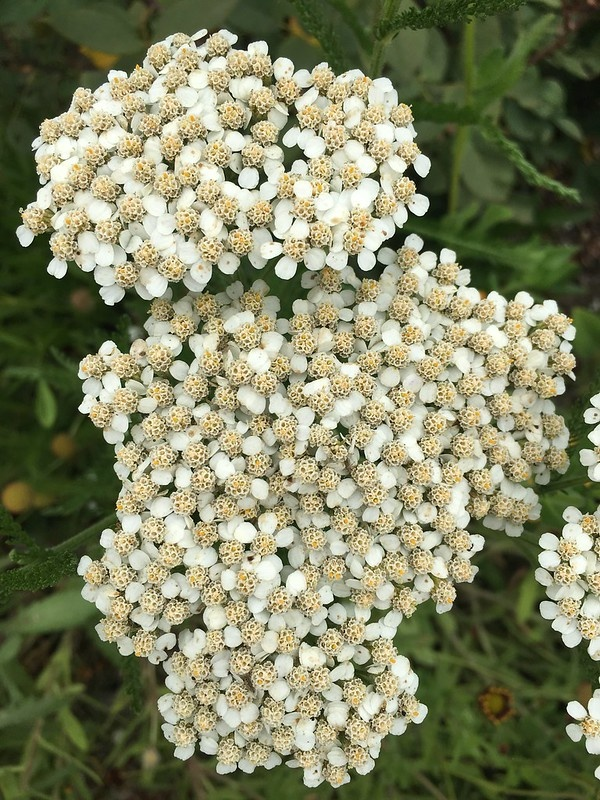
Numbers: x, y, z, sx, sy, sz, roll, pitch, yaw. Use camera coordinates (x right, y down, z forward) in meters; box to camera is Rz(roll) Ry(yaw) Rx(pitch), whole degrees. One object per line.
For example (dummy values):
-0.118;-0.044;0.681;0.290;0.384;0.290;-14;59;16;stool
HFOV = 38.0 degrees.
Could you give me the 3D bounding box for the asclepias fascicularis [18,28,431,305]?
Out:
-0.190;-0.473;2.216;0.914;0.749;0.646;-17;81;-2;asclepias fascicularis
